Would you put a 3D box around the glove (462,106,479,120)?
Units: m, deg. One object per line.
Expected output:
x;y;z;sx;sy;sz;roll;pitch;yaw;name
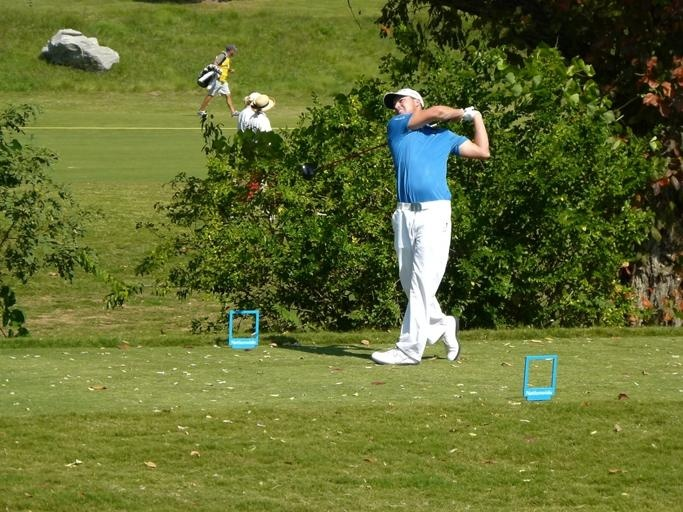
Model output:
1.369;-1.498;18.697;0.146;0.128;0.292;1;2;4;glove

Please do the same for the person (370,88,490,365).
0.980;-0.268;19.083;1.164;2.974;0.994;0;0;6;person

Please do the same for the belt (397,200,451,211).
0.868;-0.526;18.593;0.532;0.121;0.151;0;2;2;belt
